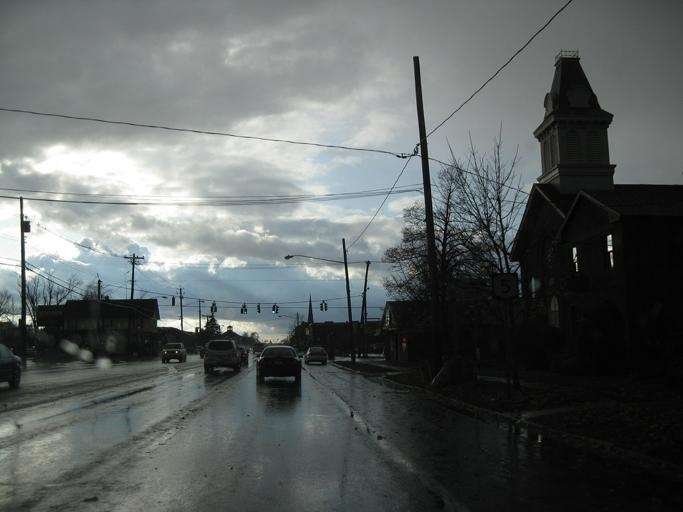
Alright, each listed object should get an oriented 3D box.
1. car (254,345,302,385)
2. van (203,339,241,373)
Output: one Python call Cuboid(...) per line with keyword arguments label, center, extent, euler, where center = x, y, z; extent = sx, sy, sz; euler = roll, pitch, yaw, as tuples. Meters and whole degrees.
Cuboid(label="car", center=(-2.475, 4.290, 27.715), extent=(1.656, 1.461, 1.383), euler=(1, -10, -9))
Cuboid(label="van", center=(-6.166, 5.115, 36.602), extent=(1.191, 1.188, 2.248), euler=(0, -4, 0))
